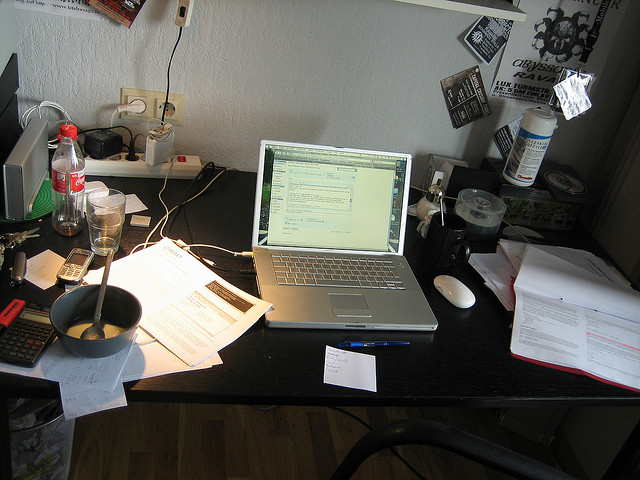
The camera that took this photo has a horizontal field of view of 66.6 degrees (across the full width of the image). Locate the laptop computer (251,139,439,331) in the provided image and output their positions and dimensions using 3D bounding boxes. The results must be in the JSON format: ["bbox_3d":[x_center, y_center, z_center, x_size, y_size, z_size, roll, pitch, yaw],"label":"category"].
[{"bbox_3d":[0.061,-0.025,1.193,0.471,0.287,0.465,10,28,0],"label":"laptop computer"}]

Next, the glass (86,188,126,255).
[{"bbox_3d":[-0.564,-0.039,1.278,0.092,0.151,0.096,-8,34,-38],"label":"glass"}]

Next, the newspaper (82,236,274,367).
[{"bbox_3d":[-0.334,0.141,1.132,0.369,0.058,0.266,28,32,17],"label":"newspaper"}]

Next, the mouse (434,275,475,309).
[{"bbox_3d":[0.349,0.123,1.265,0.060,0.028,0.102,-22,46,-27],"label":"mouse"}]

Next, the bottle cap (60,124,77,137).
[{"bbox_3d":[-0.622,-0.269,1.203,0.036,0.020,0.038,0,33,-28],"label":"bottle cap"}]

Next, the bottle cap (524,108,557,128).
[{"bbox_3d":[0.661,-0.366,1.467,0.066,0.046,0.070,-1,43,-5],"label":"bottle cap"}]

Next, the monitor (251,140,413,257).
[{"bbox_3d":[0.026,-0.100,1.341,0.499,0.283,0.321,3,44,-7],"label":"monitor"}]

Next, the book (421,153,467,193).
[{"bbox_3d":[0.419,-0.241,1.670,0.144,0.158,0.094,12,-14,-11],"label":"book"}]

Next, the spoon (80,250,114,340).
[{"bbox_3d":[-0.462,0.116,1.008,0.040,0.184,0.030,5,-6,-7],"label":"spoon"}]

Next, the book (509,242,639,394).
[{"bbox_3d":[0.641,0.187,1.182,0.296,0.063,0.322,20,45,-5],"label":"book"}]

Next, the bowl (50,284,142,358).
[{"bbox_3d":[-0.464,0.159,0.998,0.149,0.070,0.158,9,43,-8],"label":"bowl"}]

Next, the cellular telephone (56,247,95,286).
[{"bbox_3d":[-0.576,0.060,1.155,0.056,0.024,0.107,11,41,-7],"label":"cellular telephone"}]
